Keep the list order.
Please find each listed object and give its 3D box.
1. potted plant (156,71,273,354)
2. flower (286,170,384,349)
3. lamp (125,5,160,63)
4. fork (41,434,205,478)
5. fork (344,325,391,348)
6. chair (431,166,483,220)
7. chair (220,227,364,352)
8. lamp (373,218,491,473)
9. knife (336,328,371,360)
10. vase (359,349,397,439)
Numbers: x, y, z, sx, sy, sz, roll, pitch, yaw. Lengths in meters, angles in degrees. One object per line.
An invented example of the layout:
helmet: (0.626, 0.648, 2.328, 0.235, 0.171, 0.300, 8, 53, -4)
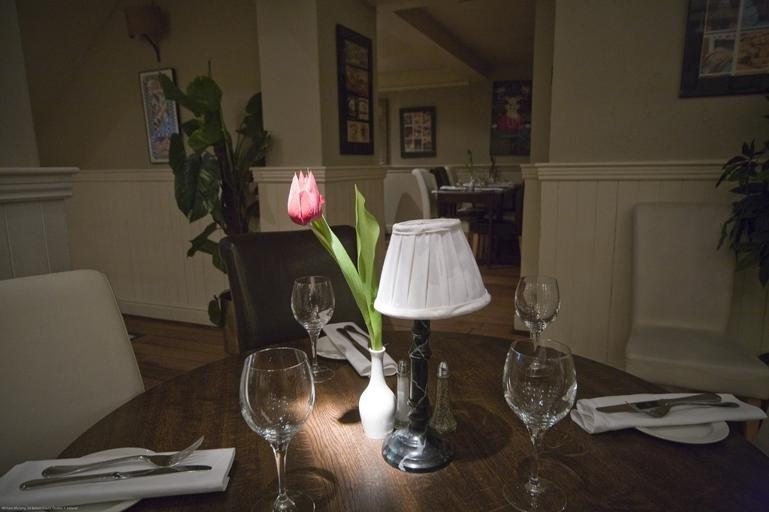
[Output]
potted plant: (-1.098, -0.326, 3.944, 0.648, 1.899, 0.869, -12, -2, 4)
flower: (-0.141, 0.057, 1.846, 0.240, 0.764, 0.109, -6, 37, -1)
lamp: (-1.925, -1.808, 4.463, 0.252, 0.459, 0.208, 0, 12, 2)
fork: (-0.776, 0.619, 1.690, 0.384, 0.067, 0.060, -2, 13, -14)
fork: (-0.091, 0.307, 2.158, 0.065, 0.014, 0.277, -12, 6, -17)
chair: (0.885, -0.693, 6.743, 0.616, 1.017, 0.936, 0, 16, 11)
chair: (-0.471, 0.119, 2.780, 0.544, 0.716, 0.539, -4, -3, -16)
lamp: (0.140, 0.266, 1.728, 0.341, 0.757, 0.255, -9, 14, -35)
knife: (-0.121, 0.347, 2.182, 0.058, 0.021, 0.293, -3, 23, -21)
vase: (-0.023, 0.444, 1.796, 0.110, 0.284, 0.117, -2, 10, -7)
